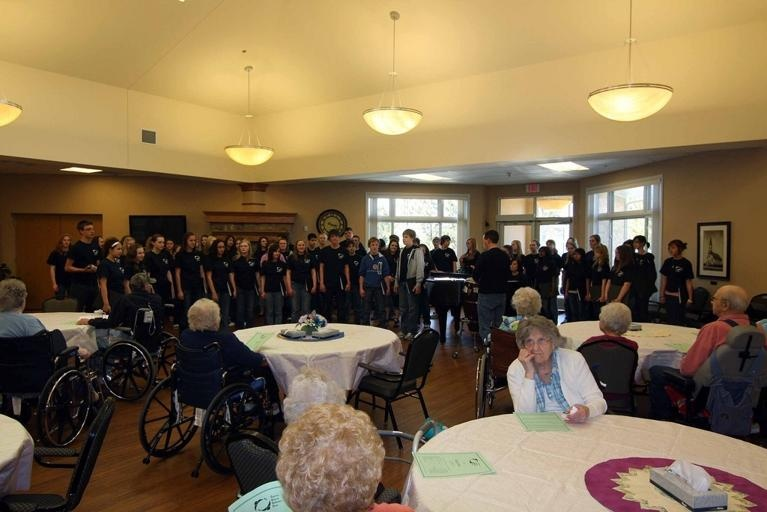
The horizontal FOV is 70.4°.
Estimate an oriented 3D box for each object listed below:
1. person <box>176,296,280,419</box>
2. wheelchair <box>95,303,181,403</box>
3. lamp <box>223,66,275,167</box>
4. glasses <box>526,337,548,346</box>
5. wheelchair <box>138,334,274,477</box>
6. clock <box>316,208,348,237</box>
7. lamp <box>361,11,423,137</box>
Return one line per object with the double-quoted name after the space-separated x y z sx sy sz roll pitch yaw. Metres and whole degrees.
-1.459 0.991 5.076 0.883 1.172 0.586 -1 3 -21 "person"
-3.023 1.150 6.638 0.924 1.073 0.790 5 3 4 "wheelchair"
-2.535 -2.585 10.325 0.825 1.778 2.147 -1 3 -14 "lamp"
1.218 0.675 4.304 0.151 0.070 0.030 0 3 1 "glasses"
-1.658 1.363 5.169 1.268 1.189 1.321 3 -3 -22 "wheelchair"
-1.229 -0.769 12.490 0.691 0.687 0.054 -18 0 -10 "clock"
0.194 -2.793 8.754 0.934 1.884 2.446 0 3 0 "lamp"
